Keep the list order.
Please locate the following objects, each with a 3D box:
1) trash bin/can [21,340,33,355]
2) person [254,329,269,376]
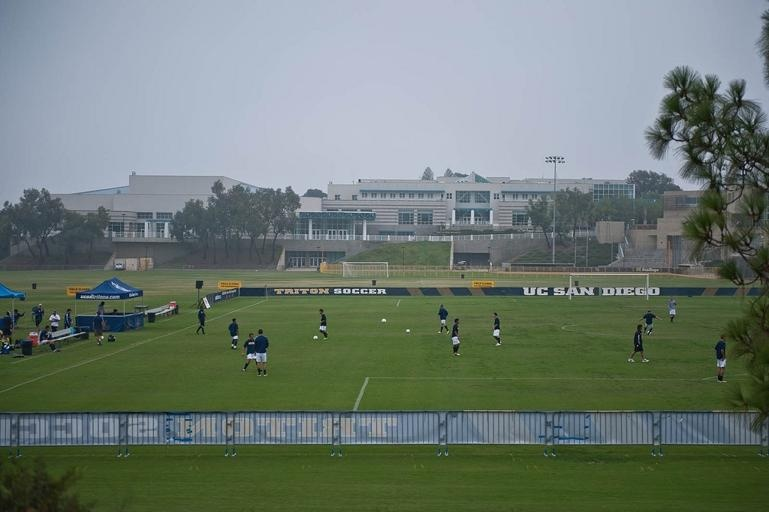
[{"bbox_3d":[-31.508,8.076,134.933,1.118,1.294,1.136,2,3,11],"label":"trash bin/can"},{"bbox_3d":[-10.399,8.083,129.651,1.031,4.019,1.394,-1,14,-6],"label":"person"}]
